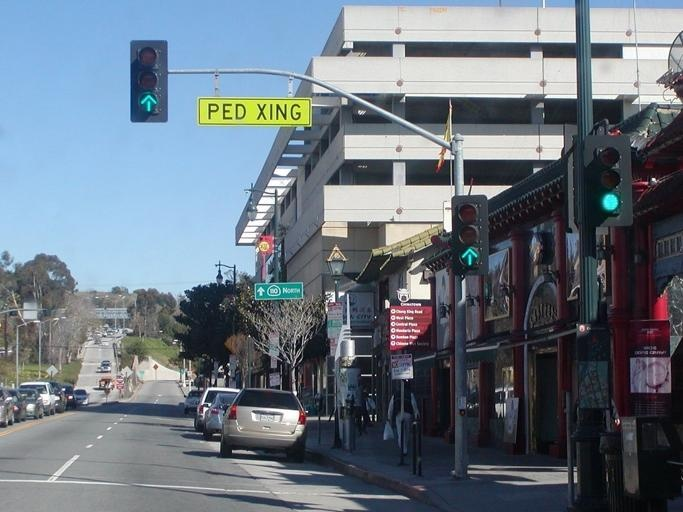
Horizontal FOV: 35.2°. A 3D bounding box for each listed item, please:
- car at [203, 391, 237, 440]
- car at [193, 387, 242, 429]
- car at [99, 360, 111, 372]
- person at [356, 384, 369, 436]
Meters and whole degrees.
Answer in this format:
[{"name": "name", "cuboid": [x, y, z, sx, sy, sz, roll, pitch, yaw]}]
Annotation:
[{"name": "car", "cuboid": [-4.260, 5.444, 36.724, 0.893, 0.990, 2.321, 0, -4, -6]}, {"name": "car", "cuboid": [-5.047, 5.915, 41.753, 1.115, 1.477, 2.893, 0, -3, -9]}, {"name": "car", "cuboid": [-36.241, 16.891, 165.918, 1.013, 1.424, 3.593, 1, 2, -7]}, {"name": "person", "cuboid": [0.787, 5.839, 41.854, 0.520, 2.326, 0.445, -1, 21, -1]}]
